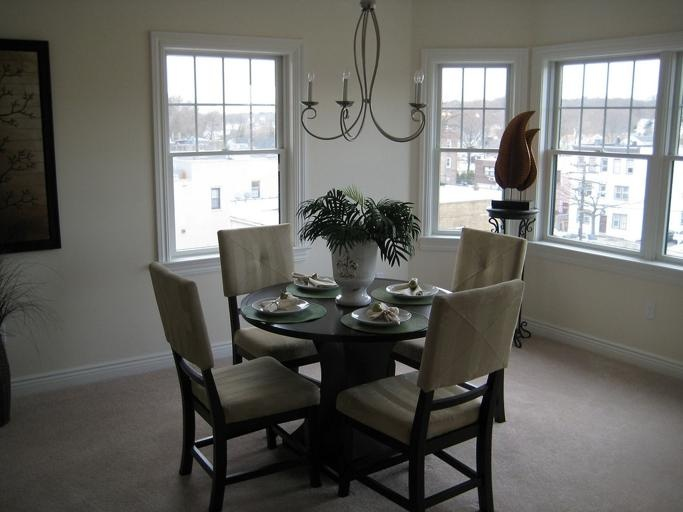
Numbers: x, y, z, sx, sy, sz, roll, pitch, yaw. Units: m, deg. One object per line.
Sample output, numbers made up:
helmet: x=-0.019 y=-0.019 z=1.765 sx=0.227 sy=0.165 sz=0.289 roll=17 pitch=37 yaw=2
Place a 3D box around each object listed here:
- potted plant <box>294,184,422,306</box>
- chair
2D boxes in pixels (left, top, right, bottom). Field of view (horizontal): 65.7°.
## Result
potted plant: x=0.079 y=-0.040 z=3.129 sx=0.677 sy=0.673 sz=0.684 roll=-2 pitch=10 yaw=-25
chair: x=-0.024 y=0.704 z=2.746 sx=1.773 sy=1.253 sz=0.751 roll=4 pitch=13 yaw=18
